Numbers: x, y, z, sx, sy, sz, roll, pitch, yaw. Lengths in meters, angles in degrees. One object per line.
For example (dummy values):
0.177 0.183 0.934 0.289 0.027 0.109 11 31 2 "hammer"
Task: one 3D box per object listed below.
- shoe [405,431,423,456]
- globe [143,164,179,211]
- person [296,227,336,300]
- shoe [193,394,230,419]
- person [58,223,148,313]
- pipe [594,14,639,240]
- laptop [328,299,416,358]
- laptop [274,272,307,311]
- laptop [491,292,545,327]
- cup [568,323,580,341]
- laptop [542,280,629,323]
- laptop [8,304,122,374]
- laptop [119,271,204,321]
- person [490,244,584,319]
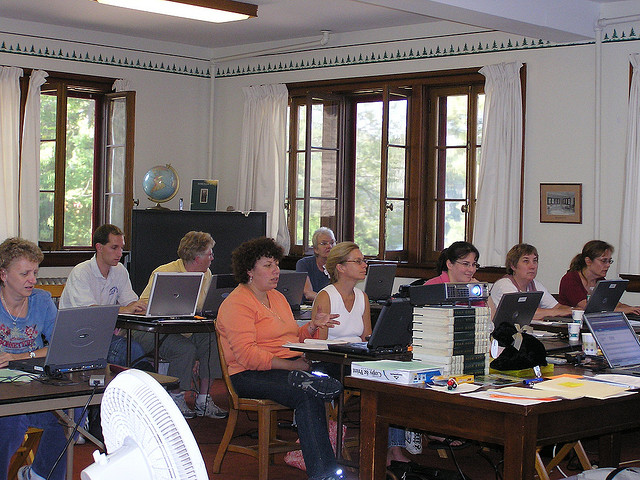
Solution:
0.625 1.388 3.848 0.051 0.204 0.141 3 4 41 "shoe"
-2.150 -0.737 7.735 0.454 0.545 0.281 -2 6 -18 "globe"
0.035 0.364 6.250 0.541 0.949 0.509 1 -8 -20 "person"
-0.974 1.511 5.154 0.374 0.191 0.137 1 -2 21 "shoe"
-1.923 0.342 5.068 0.713 0.939 0.701 3 -2 -24 "person"
3.192 -1.233 6.284 0.352 2.425 0.270 -1 6 -5 "pipe"
0.363 0.526 3.527 0.428 0.337 0.486 4 -4 30 "laptop"
-0.256 0.440 4.961 0.240 0.237 0.333 26 5 28 "laptop"
1.364 0.483 3.957 0.272 0.193 0.197 7 18 -43 "laptop"
1.827 0.664 4.094 0.099 0.117 0.105 -1 -6 0 "cup"
2.227 0.443 4.586 0.400 0.281 0.456 0 -4 44 "laptop"
-1.316 0.450 2.970 0.398 0.355 0.388 2 -1 32 "laptop"
-1.265 0.390 4.737 0.459 0.378 0.482 2 2 -45 "laptop"
1.762 0.358 4.740 0.676 0.660 0.753 -1 -8 8 "person"
